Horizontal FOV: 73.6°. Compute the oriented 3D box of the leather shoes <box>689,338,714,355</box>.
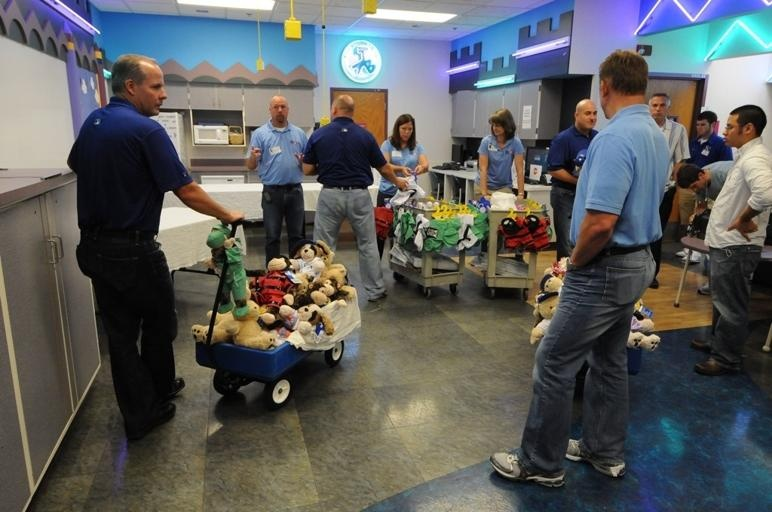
[{"bbox_3d":[2.779,0.797,4.551,0.170,0.069,0.084,22,22,34],"label":"leather shoes"}]

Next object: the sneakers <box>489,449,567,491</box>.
[{"bbox_3d":[0.877,1.275,3.235,0.425,0.198,0.190,10,6,10],"label":"sneakers"}]

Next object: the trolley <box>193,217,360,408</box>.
[{"bbox_3d":[-0.835,0.344,4.019,0.904,1.260,1.304,12,20,25],"label":"trolley"}]

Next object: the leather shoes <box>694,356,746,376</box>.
[{"bbox_3d":[2.657,0.887,4.189,0.397,0.168,0.142,2,2,6],"label":"leather shoes"}]

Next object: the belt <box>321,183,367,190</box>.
[{"bbox_3d":[-0.433,-0.691,5.226,0.440,0.055,0.092,-1,13,-1],"label":"belt"}]

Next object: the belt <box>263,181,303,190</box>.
[{"bbox_3d":[-1.164,-0.765,5.734,0.406,0.096,0.110,-3,14,-6],"label":"belt"}]

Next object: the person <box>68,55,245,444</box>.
[{"bbox_3d":[-1.629,-0.038,3.431,0.750,2.462,0.498,-10,17,-30],"label":"person"}]

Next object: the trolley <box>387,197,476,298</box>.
[{"bbox_3d":[0.459,-0.111,5.901,0.930,0.863,1.243,2,7,-27],"label":"trolley"}]

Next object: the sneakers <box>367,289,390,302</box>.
[{"bbox_3d":[-0.085,0.424,5.581,0.230,0.101,0.085,-12,13,-40],"label":"sneakers"}]

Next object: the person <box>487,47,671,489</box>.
[{"bbox_3d":[1.193,0.120,3.010,0.893,2.528,0.515,-15,20,-40],"label":"person"}]

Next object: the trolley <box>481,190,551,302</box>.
[{"bbox_3d":[1.304,-0.101,5.781,0.867,0.825,0.823,1,3,0],"label":"trolley"}]

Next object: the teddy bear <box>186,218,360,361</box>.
[{"bbox_3d":[-0.880,0.176,4.046,0.925,0.952,1.238,10,16,33],"label":"teddy bear"}]

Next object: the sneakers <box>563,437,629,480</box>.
[{"bbox_3d":[1.328,1.256,3.360,0.171,0.204,0.467,6,-7,-26],"label":"sneakers"}]
